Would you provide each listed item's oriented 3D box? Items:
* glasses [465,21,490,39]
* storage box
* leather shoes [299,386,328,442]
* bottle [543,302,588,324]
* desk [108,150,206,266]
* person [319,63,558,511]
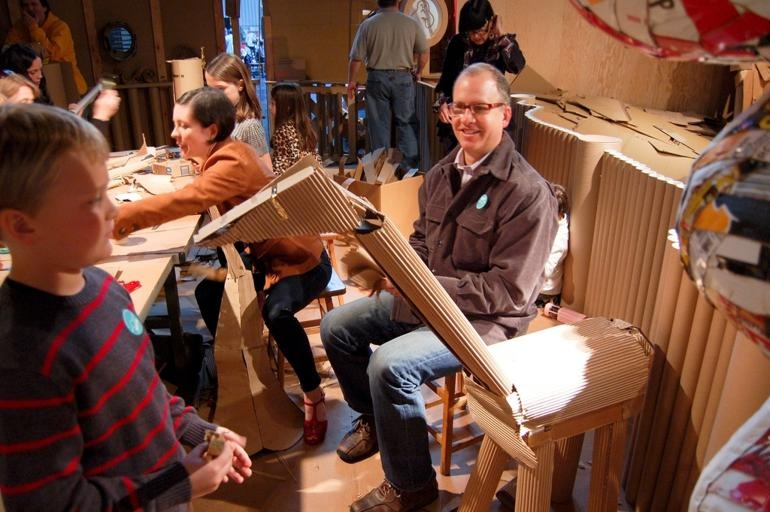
[{"bbox_3d":[0.802,-1.894,4.659,0.107,0.078,0.146,9,58,48],"label":"glasses"},{"bbox_3d":[-0.032,-0.424,4.124,0.528,0.415,0.562,18,22,19],"label":"storage box"},{"bbox_3d":[-0.392,0.830,2.972,0.098,0.123,0.307,-6,44,-1],"label":"leather shoes"},{"bbox_3d":[0.865,0.273,2.635,0.103,0.101,0.309,37,-8,-5],"label":"bottle"},{"bbox_3d":[-1.241,-0.266,2.982,0.497,0.187,0.729,-12,33,-24],"label":"desk"},{"bbox_3d":[0.251,0.099,2.673,1.070,1.970,0.790,-9,19,-23],"label":"person"}]
